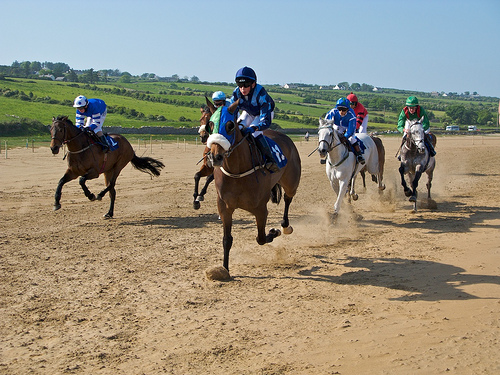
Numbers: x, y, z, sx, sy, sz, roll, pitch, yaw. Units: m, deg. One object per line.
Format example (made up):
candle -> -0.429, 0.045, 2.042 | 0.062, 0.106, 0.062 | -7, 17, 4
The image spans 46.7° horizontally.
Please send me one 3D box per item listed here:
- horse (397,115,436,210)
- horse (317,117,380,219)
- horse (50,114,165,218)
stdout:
horse -> 4.944, -0.742, 17.215 | 0.890, 2.669, 2.069 | 4, 14, 20
horse -> 2.987, -0.760, 16.662 | 0.858, 2.561, 4.041 | 4, 11, 34
horse -> -4.529, -0.800, 16.428 | 1.281, 2.570, 3.172 | 4, 14, 18
